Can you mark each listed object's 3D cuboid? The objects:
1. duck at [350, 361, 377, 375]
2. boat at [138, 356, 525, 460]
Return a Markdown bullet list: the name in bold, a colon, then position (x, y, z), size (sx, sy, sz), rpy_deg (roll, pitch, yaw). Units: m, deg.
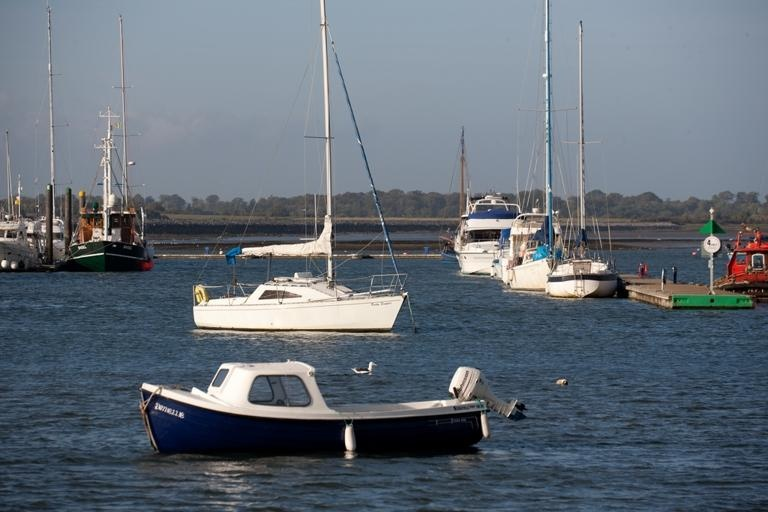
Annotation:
- **duck**: position (-0.708, 4.981, 62.585), size (1.455, 0.848, 0.496), rpy_deg (-2, 5, -3)
- **boat**: position (-1.735, 6.340, 58.032), size (15.695, 3.550, 4.568), rpy_deg (1, -4, -17)
